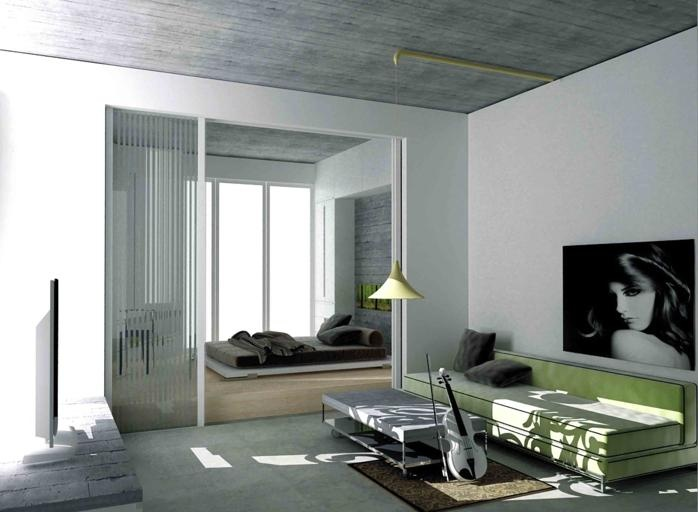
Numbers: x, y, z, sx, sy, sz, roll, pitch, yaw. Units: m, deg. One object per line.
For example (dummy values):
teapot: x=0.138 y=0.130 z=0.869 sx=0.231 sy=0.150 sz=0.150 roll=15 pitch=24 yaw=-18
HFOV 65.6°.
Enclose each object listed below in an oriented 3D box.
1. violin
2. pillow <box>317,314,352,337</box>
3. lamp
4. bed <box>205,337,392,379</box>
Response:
violin: x=0.896 y=1.274 z=4.229 sx=0.341 sy=0.872 sz=0.329 roll=0 pitch=6 yaw=10
pillow: x=-0.222 y=1.203 z=8.708 sx=0.320 sy=0.256 sz=0.750 roll=-2 pitch=-8 yaw=-25
lamp: x=1.103 y=-0.655 z=5.530 sx=1.855 sy=2.690 sz=2.351 roll=1 pitch=6 yaw=19
bed: x=-0.767 y=1.432 z=7.827 sx=2.401 sy=0.409 sz=1.108 roll=-2 pitch=6 yaw=-20
